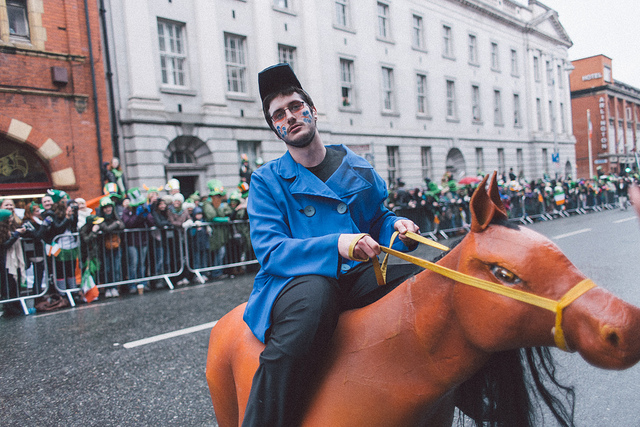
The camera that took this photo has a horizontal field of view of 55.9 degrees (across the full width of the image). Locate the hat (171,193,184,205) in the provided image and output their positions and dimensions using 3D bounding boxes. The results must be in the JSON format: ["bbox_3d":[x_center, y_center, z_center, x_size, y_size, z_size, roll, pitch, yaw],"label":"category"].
[{"bbox_3d":[-3.841,-0.370,16.177,0.253,0.255,0.207,-15,-7,8],"label":"hat"}]

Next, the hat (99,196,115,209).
[{"bbox_3d":[-5.281,-0.221,14.904,0.337,0.298,0.436,2,7,-21],"label":"hat"}]

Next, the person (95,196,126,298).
[{"bbox_3d":[-5.124,0.843,14.663,0.646,2.308,0.848,2,6,-12],"label":"person"}]

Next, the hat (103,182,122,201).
[{"bbox_3d":[-5.296,-0.508,15.433,0.421,0.427,0.788,2,7,-19],"label":"hat"}]

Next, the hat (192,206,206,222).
[{"bbox_3d":[-3.242,0.064,16.093,0.269,0.406,0.358,-2,9,-18],"label":"hat"}]

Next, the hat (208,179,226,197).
[{"bbox_3d":[-2.879,-0.690,16.864,0.431,0.486,0.447,-3,-3,-39],"label":"hat"}]

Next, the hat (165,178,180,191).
[{"bbox_3d":[-4.150,-0.779,16.899,0.351,0.302,0.280,-4,3,26],"label":"hat"}]
